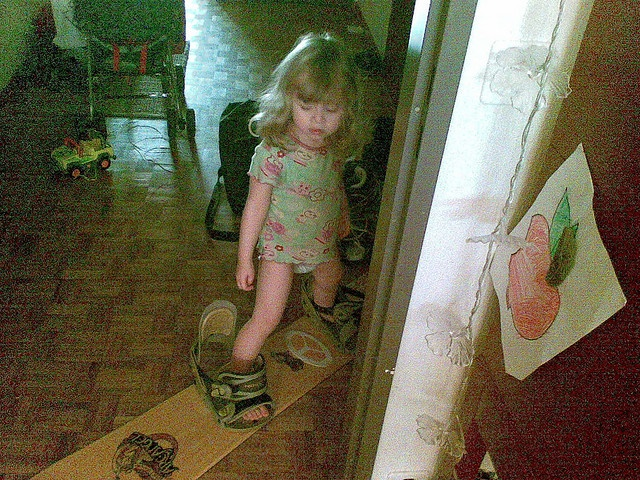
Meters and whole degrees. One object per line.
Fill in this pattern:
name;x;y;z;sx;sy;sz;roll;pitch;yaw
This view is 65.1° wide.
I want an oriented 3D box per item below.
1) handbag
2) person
handbag;-0.384;-0.347;2.382;0.424;0.607;0.161;2;-3;10
person;-0.083;-0.002;1.304;0.281;0.973;0.484;8;33;6
